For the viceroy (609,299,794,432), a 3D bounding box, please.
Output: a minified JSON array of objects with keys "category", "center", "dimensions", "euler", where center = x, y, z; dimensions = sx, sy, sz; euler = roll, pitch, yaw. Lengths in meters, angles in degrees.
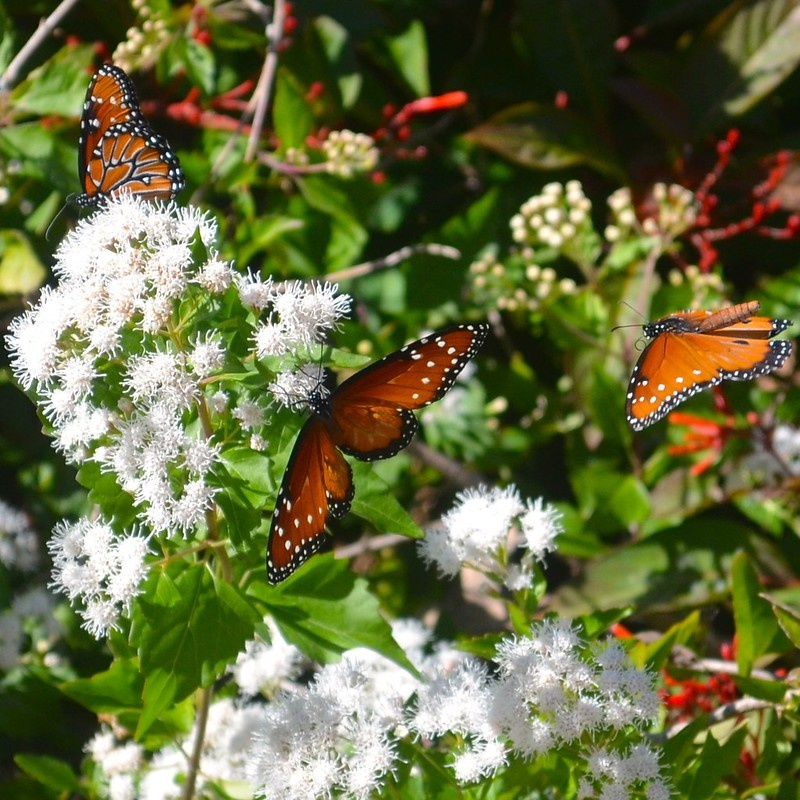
[{"category":"viceroy","center":[0.557,-0.085,2.322],"dimensions":[0.255,0.115,0.257],"euler":[-16,50,10]}]
